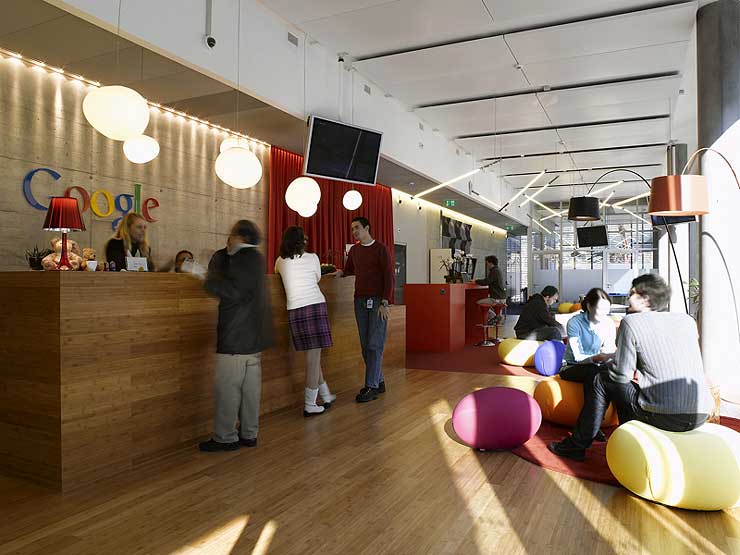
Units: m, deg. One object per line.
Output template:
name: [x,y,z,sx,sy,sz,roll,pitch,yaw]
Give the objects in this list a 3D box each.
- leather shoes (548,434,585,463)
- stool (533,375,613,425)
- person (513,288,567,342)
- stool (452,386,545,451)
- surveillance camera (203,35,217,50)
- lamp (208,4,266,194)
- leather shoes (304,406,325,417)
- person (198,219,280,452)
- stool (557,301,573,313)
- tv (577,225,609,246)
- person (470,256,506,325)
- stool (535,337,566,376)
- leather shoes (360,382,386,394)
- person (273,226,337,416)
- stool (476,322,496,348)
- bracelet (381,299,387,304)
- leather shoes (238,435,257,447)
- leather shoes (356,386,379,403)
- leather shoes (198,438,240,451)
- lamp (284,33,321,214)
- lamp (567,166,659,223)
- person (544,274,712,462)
leather shoes: [1.560,1.380,4.408,0.116,0.231,0.297,2,7,-37]
stool: [1.848,1.080,4.992,0.452,0.424,0.478,2,-2,-9]
person: [2.598,0.730,8.140,0.687,1.192,0.577,4,2,27]
stool: [1.102,1.067,4.565,0.938,0.714,0.255,0,0,-13]
surveillance camera: [-1.791,-2.621,6.076,0.120,0.132,0.097,15,37,40]
lamp: [-1.721,-2.190,6.965,0.706,2.091,3.151,-2,9,-12]
leather shoes: [-0.554,1.309,5.382,0.199,0.158,0.084,-2,0,-20]
person: [-1.152,0.472,4.622,0.637,1.881,0.444,-3,8,-23]
stool: [4.406,0.681,12.119,0.339,0.396,0.381,0,1,14]
tv: [6.589,-1.201,15.958,0.549,0.458,0.077,-5,-10,35]
person: [2.299,0.246,10.260,0.530,1.338,0.798,2,8,11]
stool: [2.340,1.020,7.018,0.215,0.476,0.445,14,4,43]
leather shoes: [0.050,1.224,6.019,0.105,0.162,0.330,-8,-17,37]
person: [-0.603,0.429,5.503,0.606,1.867,0.561,6,10,38]
stool: [2.209,1.083,10.251,0.383,0.454,0.443,2,8,10]
bracelet: [0.155,0.261,5.778,0.047,0.039,0.038,-1,0,11]
leather shoes: [-1.039,1.394,4.627,0.123,0.094,0.077,-1,-5,-1]
leather shoes: [-0.026,1.266,5.848,0.094,0.137,0.274,-6,-12,39]
leather shoes: [-1.273,1.400,4.496,0.264,0.127,0.130,5,-11,-1]
lamp: [-0.854,-1.694,6.981,0.456,1.714,0.456,-4,11,-35]
lamp: [4.663,-1.583,10.279,1.180,0.926,0.470,3,5,10]
person: [2.194,0.759,4.305,0.771,1.471,1.033,10,-7,-22]
